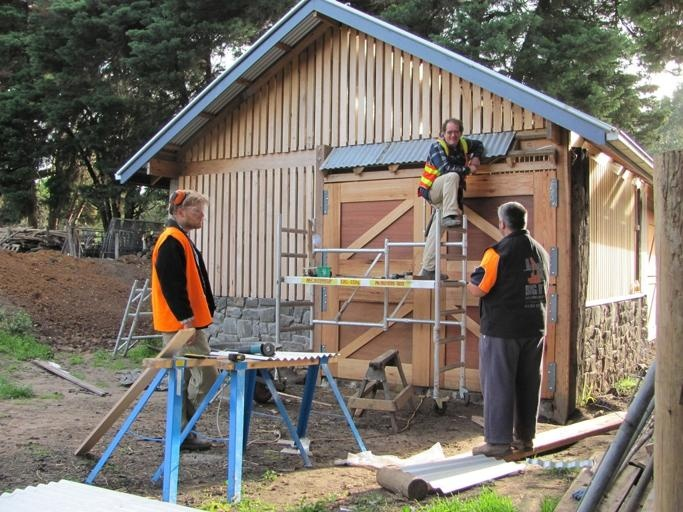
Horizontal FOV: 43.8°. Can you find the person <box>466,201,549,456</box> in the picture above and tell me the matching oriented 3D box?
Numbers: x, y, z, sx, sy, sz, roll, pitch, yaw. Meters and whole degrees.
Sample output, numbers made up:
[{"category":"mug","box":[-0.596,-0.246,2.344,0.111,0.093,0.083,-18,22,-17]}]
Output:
[{"category":"person","box":[2.411,1.045,11.990,1.022,3.421,0.793,-5,12,-28]}]

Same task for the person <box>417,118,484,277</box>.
[{"category":"person","box":[1.794,-0.920,14.075,1.031,2.613,0.813,-2,11,-15]}]

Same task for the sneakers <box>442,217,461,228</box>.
[{"category":"sneakers","box":[1.767,-0.536,13.928,0.127,0.193,0.369,-1,-4,-42]}]

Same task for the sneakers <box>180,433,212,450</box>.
[{"category":"sneakers","box":[-2.075,2.688,12.188,0.421,0.258,0.177,-1,-2,1]}]
